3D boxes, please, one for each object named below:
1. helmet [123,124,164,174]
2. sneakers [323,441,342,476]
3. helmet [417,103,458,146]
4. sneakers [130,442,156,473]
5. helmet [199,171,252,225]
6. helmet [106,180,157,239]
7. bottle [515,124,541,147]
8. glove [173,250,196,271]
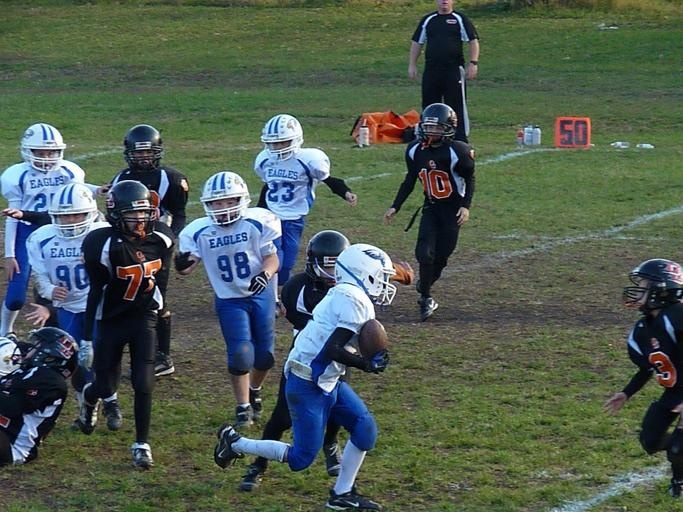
[{"bbox_3d":[-2.130,-1.179,12.307,0.570,0.374,0.569,0,8,-8],"label":"helmet"},{"bbox_3d":[-0.066,1.878,10.559,0.168,0.301,0.166,-9,-1,8],"label":"sneakers"},{"bbox_3d":[1.116,-1.537,13.113,0.431,0.453,0.266,0,12,-1],"label":"helmet"},{"bbox_3d":[-1.859,1.852,10.681,0.198,0.244,0.264,-1,11,-9],"label":"sneakers"},{"bbox_3d":[-1.133,-0.573,11.230,0.469,0.506,0.300,-1,12,-8],"label":"helmet"},{"bbox_3d":[-1.985,-0.447,10.786,0.444,0.526,0.300,-1,12,-8],"label":"helmet"},{"bbox_3d":[3.422,-2.178,20.557,0.429,0.321,0.334,2,11,8],"label":"bottle"},{"bbox_3d":[-1.540,0.039,11.267,0.217,0.173,0.074,7,0,3],"label":"glove"}]
